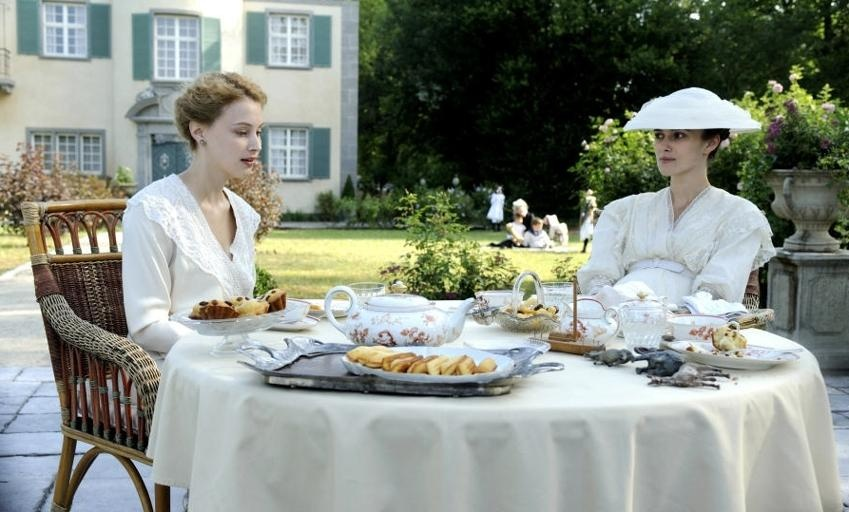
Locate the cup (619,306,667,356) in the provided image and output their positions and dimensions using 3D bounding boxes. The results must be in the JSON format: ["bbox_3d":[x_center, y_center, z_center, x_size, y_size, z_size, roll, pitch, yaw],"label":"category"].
[{"bbox_3d":[2.027,0.703,10.378,0.320,0.438,0.361,1,-1,25],"label":"cup"}]

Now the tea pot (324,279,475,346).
[{"bbox_3d":[-0.120,0.529,10.813,1.283,0.641,0.898,0,0,12],"label":"tea pot"}]

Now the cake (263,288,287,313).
[{"bbox_3d":[-1.343,0.440,10.524,0.198,0.164,0.222,-3,-9,-7],"label":"cake"}]

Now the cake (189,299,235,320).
[{"bbox_3d":[-1.869,0.520,10.319,0.265,0.110,0.237,0,-5,-12],"label":"cake"}]

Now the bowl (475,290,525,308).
[{"bbox_3d":[0.776,0.405,10.676,0.251,0.089,0.252,-2,-8,0],"label":"bowl"}]

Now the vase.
[{"bbox_3d":[4.665,-0.509,13.864,0.956,1.031,0.708,0,0,7],"label":"vase"}]
